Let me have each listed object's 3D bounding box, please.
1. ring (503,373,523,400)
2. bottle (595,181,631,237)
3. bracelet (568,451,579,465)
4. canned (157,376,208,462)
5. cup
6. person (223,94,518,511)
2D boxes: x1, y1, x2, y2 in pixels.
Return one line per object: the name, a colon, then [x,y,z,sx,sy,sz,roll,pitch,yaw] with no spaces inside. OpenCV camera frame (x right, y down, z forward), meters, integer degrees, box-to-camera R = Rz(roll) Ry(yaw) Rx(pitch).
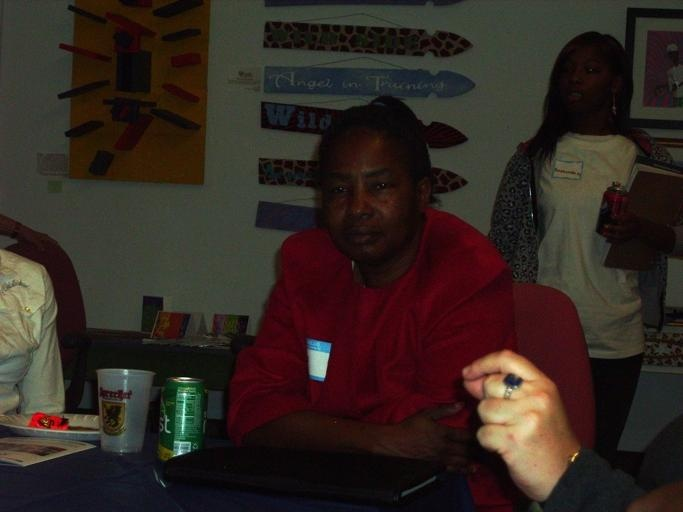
ring: [0.264,0.203,0.919,0.014,0.023,0.025,29,-28,27]
bottle: [0.990,-0.170,2.184,0.096,0.186,0.077,3,9,20]
bracelet: [0.359,0.310,0.922,0.017,0.017,0.017,3,6,-12]
canned: [-0.312,0.321,1.178,0.131,0.156,0.125,4,-5,-23]
cup: [-0.431,0.312,1.195,0.124,0.149,0.115,2,-9,0]
person: [0.082,0.080,1.389,0.674,0.920,0.448,3,9,16]
